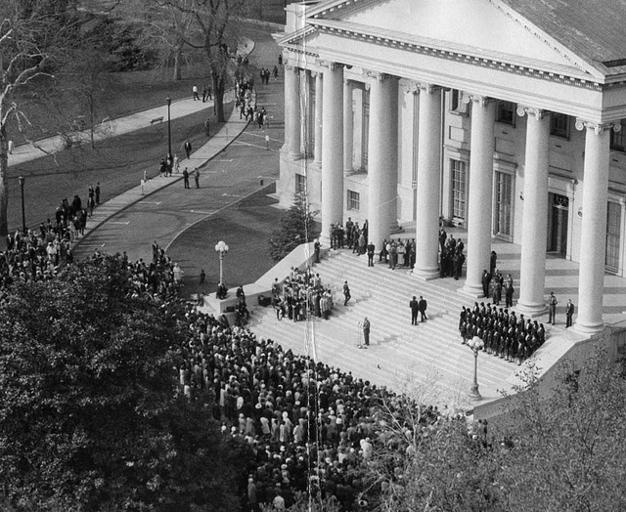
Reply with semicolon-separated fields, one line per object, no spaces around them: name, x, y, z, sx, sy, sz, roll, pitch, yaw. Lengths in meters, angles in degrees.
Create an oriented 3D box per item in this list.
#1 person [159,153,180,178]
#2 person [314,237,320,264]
person;-9.150;-5.780;96.030;1.224;1.240;1.971;-8;10;-6
person;0.236;-0.331;73.185;0.384;1.061;1.255;-6;9;0
